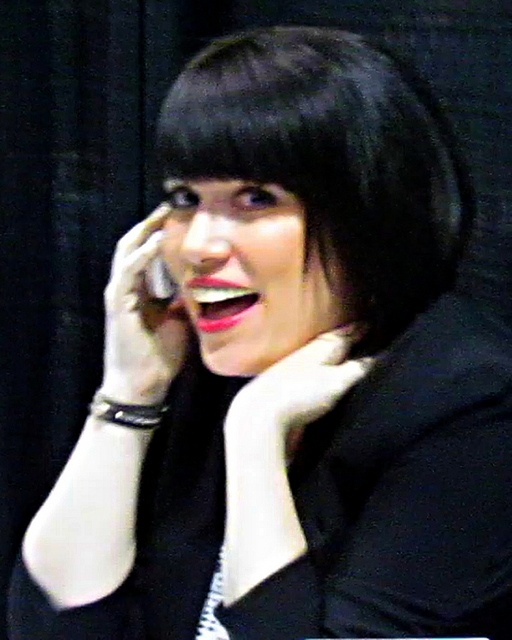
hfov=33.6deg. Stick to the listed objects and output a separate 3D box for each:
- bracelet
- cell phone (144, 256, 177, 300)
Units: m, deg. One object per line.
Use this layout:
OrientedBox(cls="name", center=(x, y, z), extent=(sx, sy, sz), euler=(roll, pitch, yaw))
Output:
OrientedBox(cls="bracelet", center=(-0.284, 0.201, 1.888), extent=(0.146, 0.094, 0.041), euler=(5, 93, -11))
OrientedBox(cls="cell phone", center=(-0.213, -0.096, 1.874), extent=(0.082, 0.088, 0.036), euler=(6, 19, 31))
